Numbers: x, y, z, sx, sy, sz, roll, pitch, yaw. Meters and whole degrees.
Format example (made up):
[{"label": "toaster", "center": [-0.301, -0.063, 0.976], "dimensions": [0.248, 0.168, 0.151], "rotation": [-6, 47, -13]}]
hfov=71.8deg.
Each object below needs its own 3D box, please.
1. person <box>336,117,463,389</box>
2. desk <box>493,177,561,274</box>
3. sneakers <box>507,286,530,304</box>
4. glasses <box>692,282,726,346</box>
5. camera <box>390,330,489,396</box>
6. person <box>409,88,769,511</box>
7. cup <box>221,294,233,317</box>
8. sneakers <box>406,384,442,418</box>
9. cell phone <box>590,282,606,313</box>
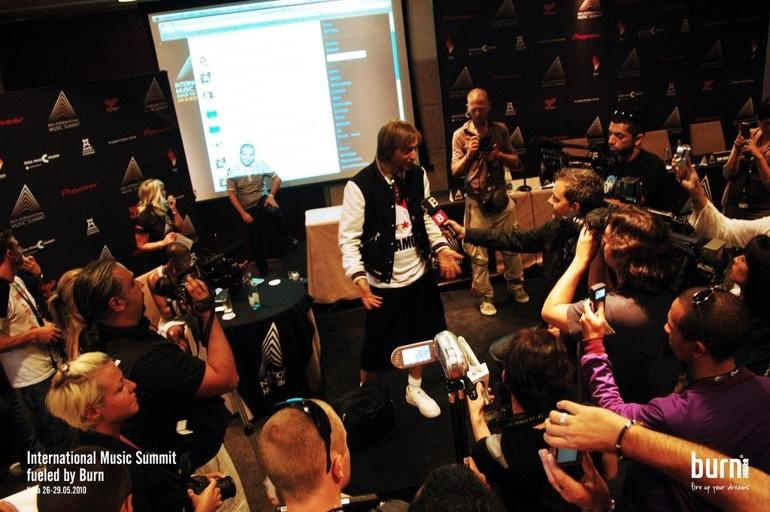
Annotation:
[{"label": "person", "center": [0.079, 0.182, 4.267], "dimensions": [0.961, 2.366, 0.840], "rotation": [-13, 21, -30]}, {"label": "desk", "center": [1.336, -0.309, 5.070], "dimensions": [0.493, 1.035, 0.569], "rotation": [-28, 47, -21]}, {"label": "sneakers", "center": [1.499, 0.395, 5.951], "dimensions": [0.245, 0.244, 0.130], "rotation": [6, 34, 37]}, {"label": "glasses", "center": [1.613, 0.297, 2.635], "dimensions": [0.071, 0.239, 0.232], "rotation": [18, 44, 18]}, {"label": "camera", "center": [0.288, 0.599, 2.725], "dimensions": [0.405, 0.192, 0.316], "rotation": [-11, 35, -18]}, {"label": "person", "center": [1.369, 0.339, 3.244], "dimensions": [0.755, 1.269, 2.005], "rotation": [-11, 24, -7]}, {"label": "cup", "center": [-1.352, 0.428, 4.505], "dimensions": [0.126, 0.143, 0.127], "rotation": [-1, 19, 0]}, {"label": "sneakers", "center": [0.297, 1.155, 4.394], "dimensions": [0.157, 0.140, 0.350], "rotation": [-28, 38, -33]}, {"label": "cell phone", "center": [1.184, 0.219, 2.954], "dimensions": [0.075, 0.143, 0.160], "rotation": [-4, 24, 10]}]
